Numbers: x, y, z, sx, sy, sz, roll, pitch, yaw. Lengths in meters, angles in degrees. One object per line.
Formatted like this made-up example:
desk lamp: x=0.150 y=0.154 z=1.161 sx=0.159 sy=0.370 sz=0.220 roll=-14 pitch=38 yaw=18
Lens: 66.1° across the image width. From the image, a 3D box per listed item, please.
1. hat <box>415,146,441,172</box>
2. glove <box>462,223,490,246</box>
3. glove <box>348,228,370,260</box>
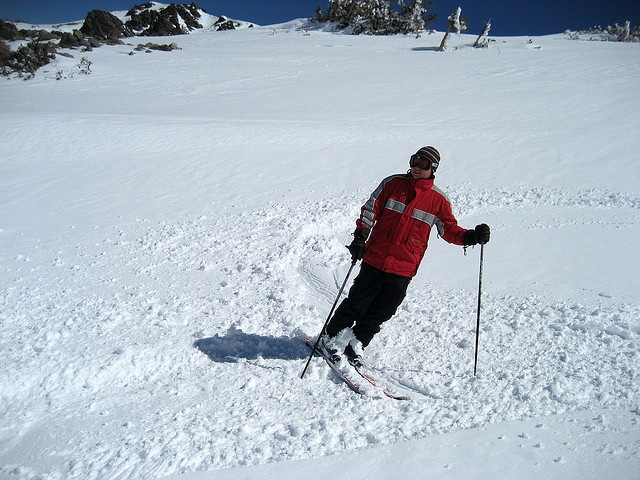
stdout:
hat: x=1.668 y=-1.246 z=7.453 sx=0.367 sy=0.357 sz=0.435 roll=28 pitch=12 yaw=18
glove: x=2.358 y=-0.064 z=7.389 sx=0.368 sy=0.408 sz=0.239 roll=14 pitch=33 yaw=13
glove: x=0.593 y=0.059 z=7.583 sx=0.256 sy=0.484 sz=0.392 roll=14 pitch=32 yaw=11
